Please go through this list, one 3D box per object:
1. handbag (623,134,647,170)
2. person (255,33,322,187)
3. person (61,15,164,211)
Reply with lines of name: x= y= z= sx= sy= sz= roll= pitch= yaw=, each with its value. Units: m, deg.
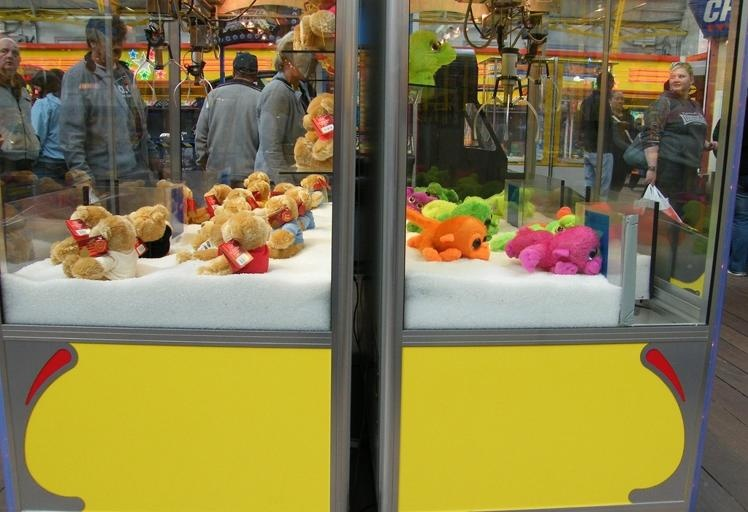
handbag: x=1.064 y=-0.428 z=2.495 sx=0.071 sy=0.152 sz=0.142 roll=2 pitch=7 yaw=-11
person: x=-0.325 y=-0.588 z=2.350 sx=0.226 sy=0.733 sz=0.252 roll=-2 pitch=30 yaw=-8
person: x=-1.132 y=-0.475 z=2.682 sx=0.371 sy=1.061 sz=0.236 roll=-12 pitch=31 yaw=-35
